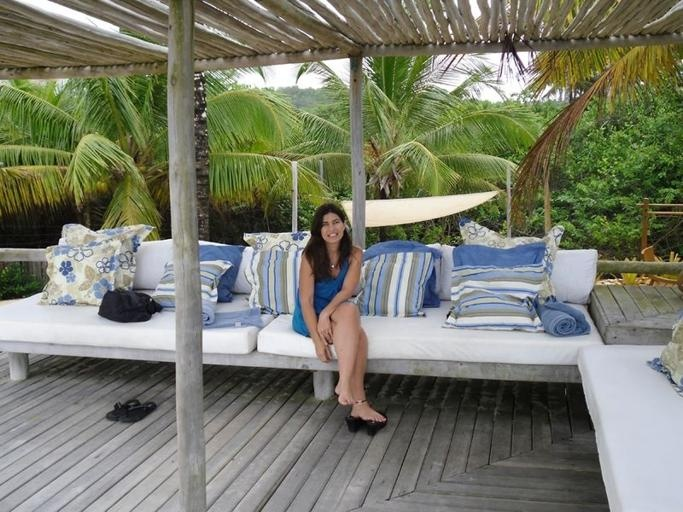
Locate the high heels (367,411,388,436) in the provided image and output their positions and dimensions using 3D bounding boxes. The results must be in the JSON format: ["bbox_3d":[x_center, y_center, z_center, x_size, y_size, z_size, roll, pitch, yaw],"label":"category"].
[{"bbox_3d":[0.219,0.990,3.083,0.057,0.126,0.175,7,14,41],"label":"high heels"}]

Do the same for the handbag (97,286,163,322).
[{"bbox_3d":[-1.480,0.339,3.629,0.286,0.140,0.233,-3,3,-40],"label":"handbag"}]

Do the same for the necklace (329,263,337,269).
[{"bbox_3d":[-0.049,0.063,3.360,0.031,0.034,0.012,1,-15,-4],"label":"necklace"}]

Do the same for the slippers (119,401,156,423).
[{"bbox_3d":[-1.296,0.987,3.270,0.157,0.042,0.220,1,12,11],"label":"slippers"}]

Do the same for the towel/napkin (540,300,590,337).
[{"bbox_3d":[1.368,0.365,3.194,0.187,0.104,0.247,3,6,5],"label":"towel/napkin"}]

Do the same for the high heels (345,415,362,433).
[{"bbox_3d":[0.077,0.987,3.035,0.064,0.066,0.102,0,-7,8],"label":"high heels"}]
